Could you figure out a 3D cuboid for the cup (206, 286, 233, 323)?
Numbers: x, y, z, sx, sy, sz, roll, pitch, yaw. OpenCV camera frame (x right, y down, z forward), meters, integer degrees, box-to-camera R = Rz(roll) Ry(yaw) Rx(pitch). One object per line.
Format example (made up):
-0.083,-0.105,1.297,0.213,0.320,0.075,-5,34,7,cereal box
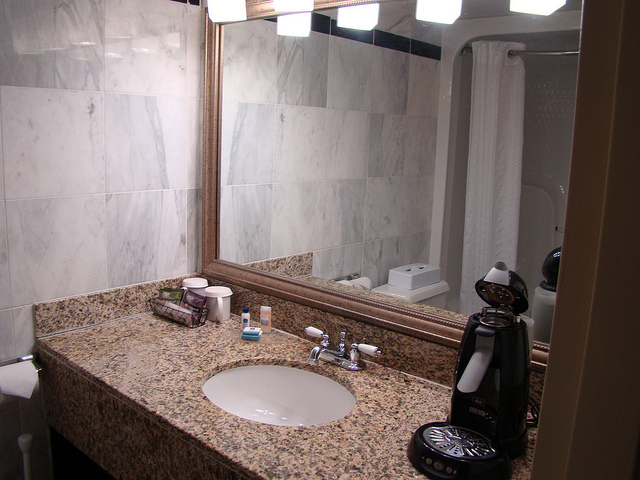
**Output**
-0.369,0.242,1.822,0.083,0.124,0.134,-2,17,-16,cup

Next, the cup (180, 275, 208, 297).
-0.473,0.161,1.888,0.076,0.064,0.079,3,11,-1,cup

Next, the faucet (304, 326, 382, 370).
0.051,0.326,1.498,0.256,0.103,0.103,12,12,29,faucet
